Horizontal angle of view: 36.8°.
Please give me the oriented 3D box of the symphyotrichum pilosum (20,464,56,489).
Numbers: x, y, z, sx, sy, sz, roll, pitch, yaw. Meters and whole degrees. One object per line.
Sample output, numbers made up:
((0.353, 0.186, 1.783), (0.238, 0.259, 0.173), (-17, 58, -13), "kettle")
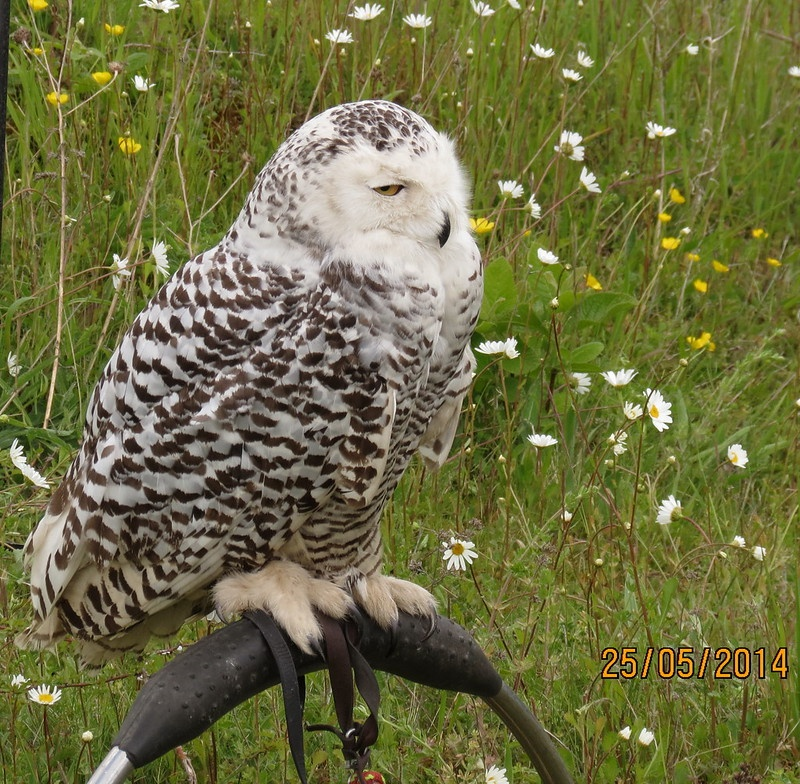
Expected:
((-0.972, 0.229, 3.210), (0.020, 0.077, 0.073), (-42, 71, -12), "symphyotrichum pilosum")

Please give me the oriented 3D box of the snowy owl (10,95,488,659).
((-0.383, -0.008, 2.787), (0.944, 1.354, 0.646), (0, 16, -4), "snowy owl")

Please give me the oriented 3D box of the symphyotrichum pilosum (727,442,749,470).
((1.032, 0.200, 3.680), (0.076, 0.087, 0.045), (8, 50, 42), "symphyotrichum pilosum")
